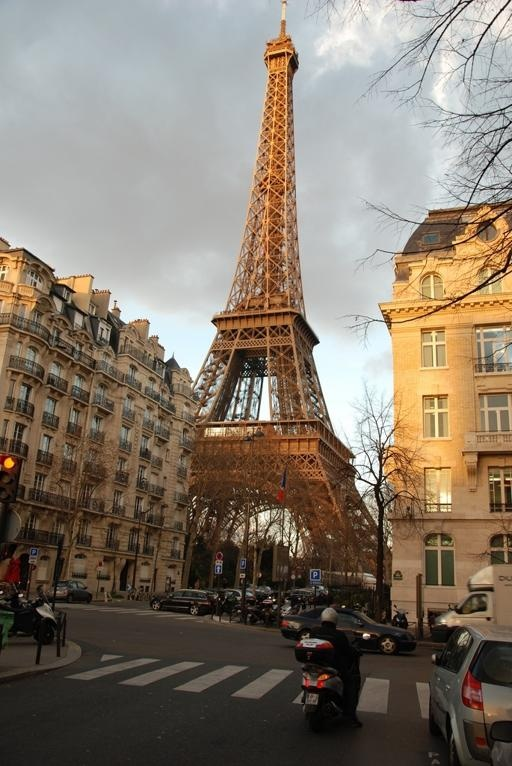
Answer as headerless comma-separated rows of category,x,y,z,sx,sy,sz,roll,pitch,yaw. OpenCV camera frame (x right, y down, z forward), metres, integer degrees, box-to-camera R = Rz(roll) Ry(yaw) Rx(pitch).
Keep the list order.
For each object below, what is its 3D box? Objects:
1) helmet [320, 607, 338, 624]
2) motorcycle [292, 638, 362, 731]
helmet,0.963,3.149,6.756,0.230,0.264,0.284,2,-11,10
motorcycle,0.833,3.686,6.132,0.590,0.840,1.414,-4,-25,13
